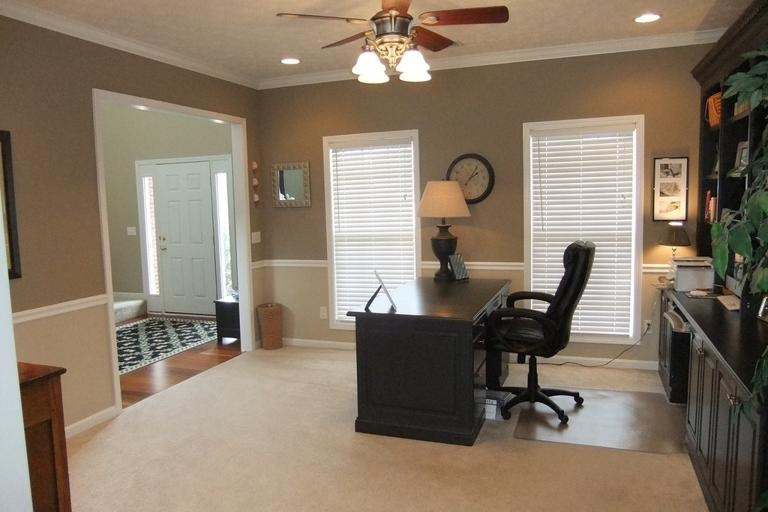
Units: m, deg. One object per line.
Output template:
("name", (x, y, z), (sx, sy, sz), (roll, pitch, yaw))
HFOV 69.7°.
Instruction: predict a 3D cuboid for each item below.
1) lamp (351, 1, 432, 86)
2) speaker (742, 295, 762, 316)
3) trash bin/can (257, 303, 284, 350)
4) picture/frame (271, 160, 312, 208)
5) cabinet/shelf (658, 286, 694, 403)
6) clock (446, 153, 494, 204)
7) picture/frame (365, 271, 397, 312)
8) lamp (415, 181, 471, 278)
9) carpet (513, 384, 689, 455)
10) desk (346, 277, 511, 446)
("lamp", (0.049, -1.455, 4.063), (0.695, 0.330, 0.638), (0, 0, 13))
("speaker", (2.692, 0.360, 4.033), (0.119, 0.159, 0.068), (1, 7, 15))
("trash bin/can", (-1.357, 0.827, 6.512), (0.294, 0.513, 0.270), (-1, 6, 0))
("picture/frame", (-1.062, -0.838, 6.383), (0.575, 0.553, 0.050), (2, 6, 22))
("cabinet/shelf", (2.470, 0.764, 4.652), (0.335, 0.846, 0.946), (1, 6, 21))
("clock", (0.913, -0.786, 5.709), (0.623, 0.597, 0.105), (1, 1, 22))
("picture/frame", (-0.010, 0.307, 4.599), (0.310, 0.370, 0.352), (-3, 0, 2))
("lamp", (0.589, -0.269, 5.564), (0.479, 0.992, 0.563), (0, 6, 4))
("carpet", (1.797, 1.351, 4.620), (1.410, 0.159, 0.944), (0, 5, 12))
("desk", (0.365, 0.829, 4.720), (1.089, 0.931, 1.985), (0, 3, 13))
